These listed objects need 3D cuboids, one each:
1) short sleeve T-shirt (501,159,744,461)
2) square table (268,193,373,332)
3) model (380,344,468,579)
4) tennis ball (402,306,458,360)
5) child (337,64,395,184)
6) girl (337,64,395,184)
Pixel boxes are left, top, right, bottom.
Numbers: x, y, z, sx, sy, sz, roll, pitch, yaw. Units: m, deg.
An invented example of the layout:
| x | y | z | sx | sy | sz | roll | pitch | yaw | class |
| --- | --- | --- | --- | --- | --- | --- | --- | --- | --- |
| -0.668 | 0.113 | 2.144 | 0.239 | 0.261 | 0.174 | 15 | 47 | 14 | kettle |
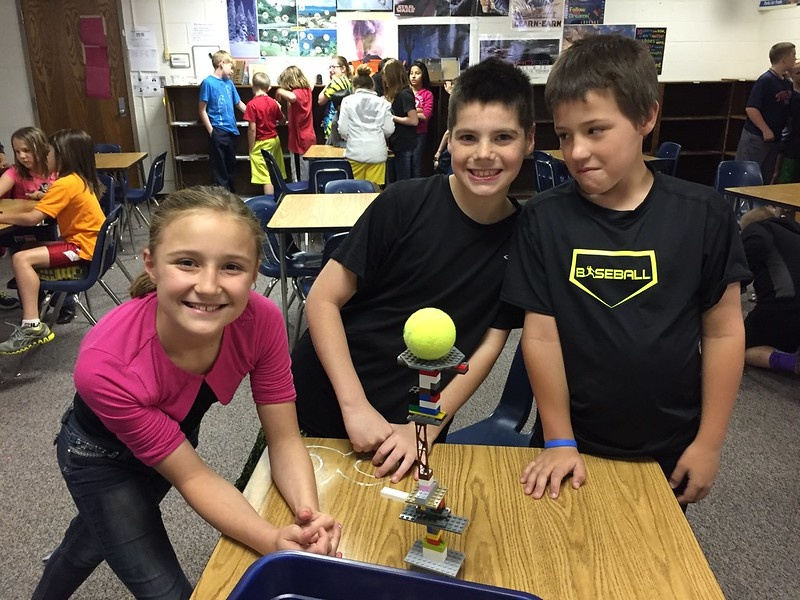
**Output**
| x | y | z | sx | sy | sz | roll | pitch | yaw | class |
| --- | --- | --- | --- | --- | --- | --- | --- | --- | --- |
| 0.564 | 0.045 | 1.329 | 0.566 | 0.758 | 0.274 | 1 | 22 | 30 | short sleeve T-shirt |
| -0.455 | -0.178 | 3.783 | 0.778 | 0.985 | 0.984 | 0 | 29 | -2 | square table |
| 0.050 | 0.278 | 0.878 | 0.154 | 0.363 | 0.108 | -2 | -5 | 29 | model |
| 0.048 | 0.062 | 0.851 | 0.091 | 0.099 | 0.088 | -5 | -8 | -1 | tennis ball |
| -0.397 | -1.801 | 5.917 | 0.570 | 1.734 | 0.513 | -3 | 32 | -10 | child |
| -0.408 | -1.791 | 5.917 | 0.544 | 1.711 | 0.508 | -4 | 32 | -12 | girl |
